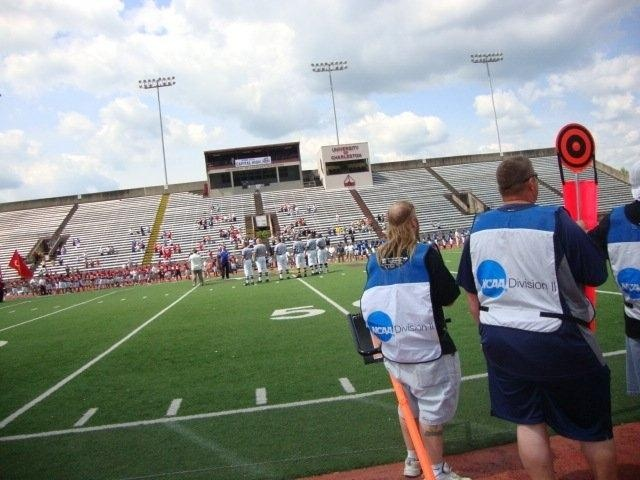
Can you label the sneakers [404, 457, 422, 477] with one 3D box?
[{"bbox_3d":[0.681,1.689,3.609,0.072,0.090,0.207,0,-7,18],"label":"sneakers"}]
